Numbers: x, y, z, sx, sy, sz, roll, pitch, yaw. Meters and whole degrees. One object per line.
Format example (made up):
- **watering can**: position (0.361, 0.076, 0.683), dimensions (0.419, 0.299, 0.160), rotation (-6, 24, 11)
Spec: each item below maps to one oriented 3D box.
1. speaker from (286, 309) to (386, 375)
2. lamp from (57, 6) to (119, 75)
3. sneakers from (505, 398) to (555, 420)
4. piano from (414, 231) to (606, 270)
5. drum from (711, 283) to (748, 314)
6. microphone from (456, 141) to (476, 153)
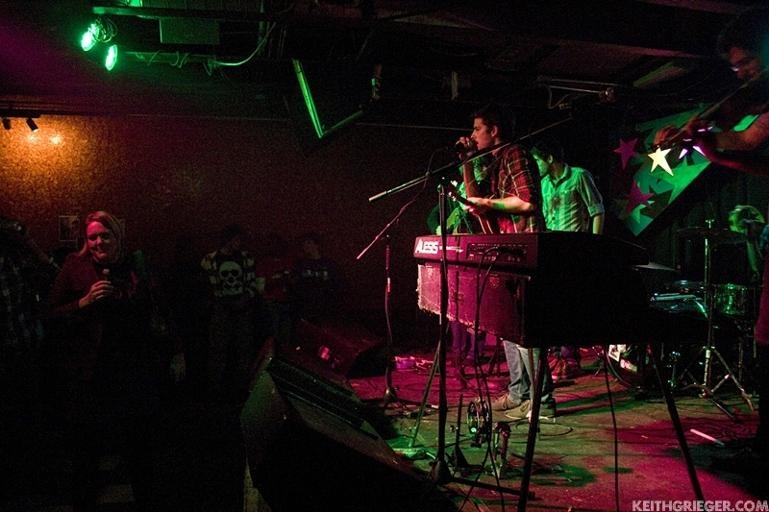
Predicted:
- **speaker**: position (-0.444, 1.100, 7.097), dimensions (0.882, 0.313, 0.908), rotation (25, -8, -26)
- **lamp**: position (-3.158, -2.352, 6.756), dimensions (0.258, 0.466, 0.470), rotation (-33, 14, -4)
- **sneakers**: position (1.365, 1.399, 5.684), dimensions (0.634, 0.236, 0.227), rotation (0, -12, -5)
- **piano**: position (0.755, -0.038, 4.624), dimensions (0.471, 0.273, 1.480), rotation (3, -2, -39)
- **drum**: position (3.595, 0.438, 6.430), dimensions (0.330, 0.452, 0.329), rotation (-2, 2, 0)
- **microphone**: position (0.658, -0.891, 4.968), dimensions (0.162, 0.096, 0.034), rotation (1, -2, 17)
